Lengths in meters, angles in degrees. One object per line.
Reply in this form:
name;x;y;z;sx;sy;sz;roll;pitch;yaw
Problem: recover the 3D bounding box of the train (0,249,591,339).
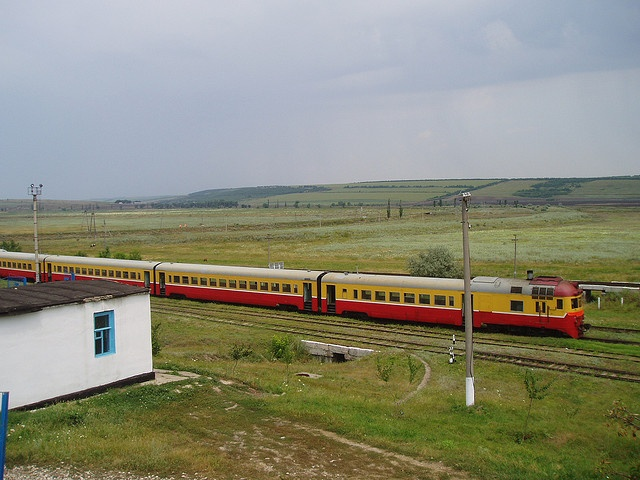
train;-1.016;3.914;43.034;51.229;3.597;3.376;3;5;30
